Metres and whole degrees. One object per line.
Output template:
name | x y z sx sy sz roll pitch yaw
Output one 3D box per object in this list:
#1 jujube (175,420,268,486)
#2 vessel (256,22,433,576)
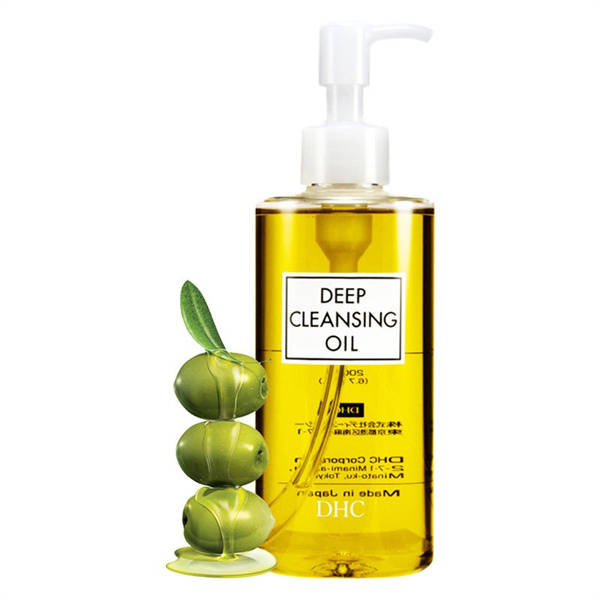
jujube | -0.120 0.241 1.224 0.149 0.082 0.097 0 5 2
vessel | 0.079 -0.015 1.298 0.306 0.929 0.290 1 -17 -2
